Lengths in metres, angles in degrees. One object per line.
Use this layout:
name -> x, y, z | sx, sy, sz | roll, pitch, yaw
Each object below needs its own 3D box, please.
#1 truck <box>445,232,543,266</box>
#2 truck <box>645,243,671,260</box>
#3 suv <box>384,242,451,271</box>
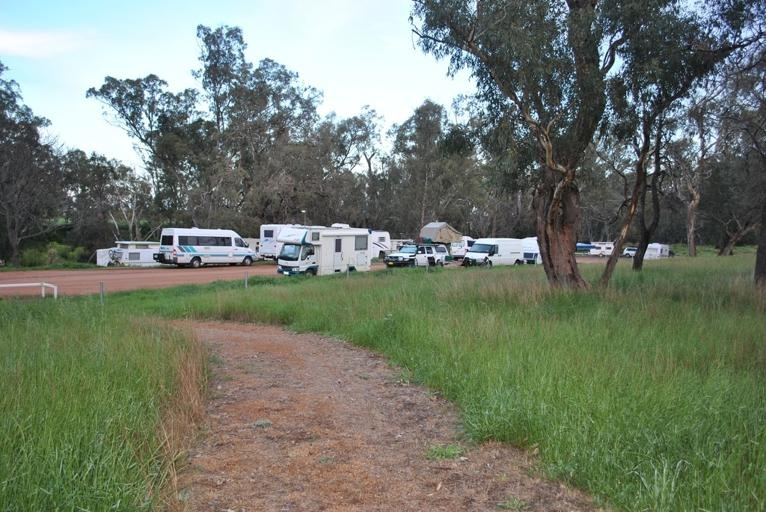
truck -> 7.859, -0.297, 44.438 | 2.518, 1.826, 5.809 | 2, -1, 42
truck -> 23.312, -0.318, 57.860 | 2.609, 1.755, 1.610 | 1, -2, -33
suv -> 2.225, 0.050, 43.435 | 1.707, 1.288, 3.230 | -3, -4, 44
